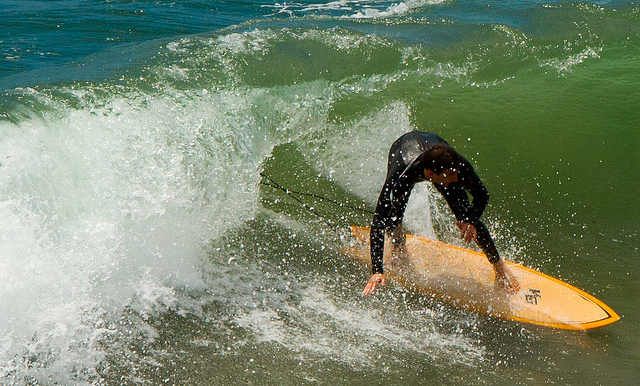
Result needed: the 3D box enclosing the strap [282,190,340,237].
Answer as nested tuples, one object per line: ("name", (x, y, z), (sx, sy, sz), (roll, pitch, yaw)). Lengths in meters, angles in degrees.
("strap", (-0.164, 0.381, 13.669), (1.443, 0.079, 0.186), (30, 79, 20))
